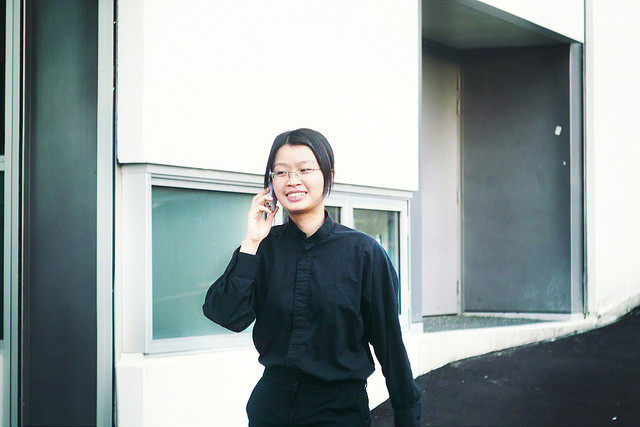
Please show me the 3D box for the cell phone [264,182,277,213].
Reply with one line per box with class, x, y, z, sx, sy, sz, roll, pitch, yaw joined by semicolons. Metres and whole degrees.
cell phone;-0.320;-0.086;3.507;0.056;0.222;0.055;6;-7;-9
